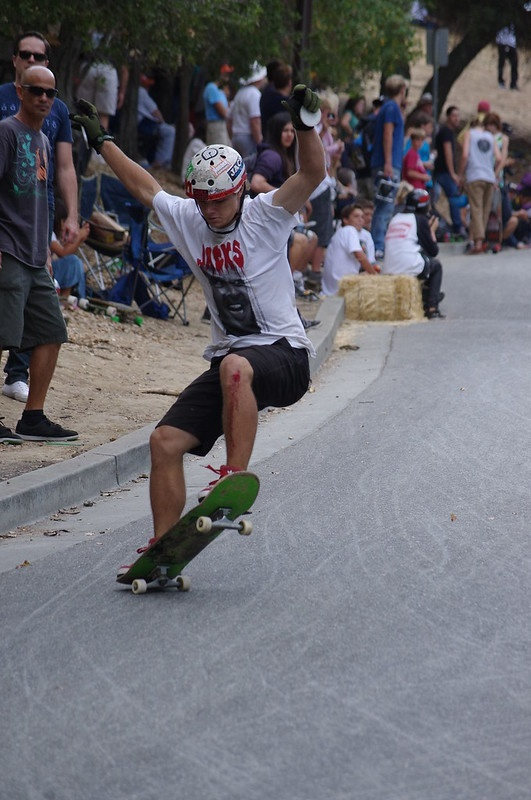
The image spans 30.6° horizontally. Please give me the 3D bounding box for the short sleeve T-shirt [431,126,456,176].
[{"bbox_3d":[3.329,-4.703,18.111,0.377,0.934,0.673,0,8,9],"label":"short sleeve T-shirt"}]

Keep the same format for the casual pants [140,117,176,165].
[{"bbox_3d":[-2.235,-5.386,20.172,1.123,0.991,0.807,-1,14,-14],"label":"casual pants"}]

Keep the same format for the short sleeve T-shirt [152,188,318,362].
[{"bbox_3d":[-0.049,-0.508,3.895,0.992,0.693,0.495,1,3,40],"label":"short sleeve T-shirt"}]

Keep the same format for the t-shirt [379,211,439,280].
[{"bbox_3d":[1.746,-1.889,11.698,0.621,0.766,0.598,11,19,34],"label":"t-shirt"}]

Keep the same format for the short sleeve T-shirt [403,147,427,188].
[{"bbox_3d":[2.246,-3.501,14.617,0.386,0.608,0.667,0,8,12],"label":"short sleeve T-shirt"}]

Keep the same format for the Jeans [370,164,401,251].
[{"bbox_3d":[1.793,-2.868,14.793,0.479,1.543,0.527,-5,-7,32],"label":"Jeans"}]

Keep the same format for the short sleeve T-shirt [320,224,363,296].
[{"bbox_3d":[1.006,-1.843,12.652,0.492,0.833,0.656,0,7,4],"label":"short sleeve T-shirt"}]

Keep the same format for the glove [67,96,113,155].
[{"bbox_3d":[-0.738,-1.171,4.115,0.106,0.213,0.136,-18,-2,39],"label":"glove"}]

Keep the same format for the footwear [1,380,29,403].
[{"bbox_3d":[-1.743,-0.065,6.792,0.351,0.130,0.129,-2,-7,37],"label":"footwear"}]

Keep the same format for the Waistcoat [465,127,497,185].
[{"bbox_3d":[3.619,-4.132,16.401,0.461,0.900,0.512,1,9,15],"label":"Waistcoat"}]

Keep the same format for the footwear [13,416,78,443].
[{"bbox_3d":[-1.358,0.181,6.089,0.450,0.173,0.141,3,3,-10],"label":"footwear"}]

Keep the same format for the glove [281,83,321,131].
[{"bbox_3d":[0.135,-1.055,3.498,0.123,0.161,0.257,-1,8,3],"label":"glove"}]

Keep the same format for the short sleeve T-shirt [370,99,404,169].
[{"bbox_3d":[1.879,-4.087,14.610,0.418,0.877,0.590,2,22,7],"label":"short sleeve T-shirt"}]

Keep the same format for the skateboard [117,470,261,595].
[{"bbox_3d":[-0.319,0.510,3.520,0.264,0.152,0.890,18,-40,-33],"label":"skateboard"}]

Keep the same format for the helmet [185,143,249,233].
[{"bbox_3d":[-0.173,-0.821,3.611,0.244,0.262,0.180,-3,8,-14],"label":"helmet"}]
